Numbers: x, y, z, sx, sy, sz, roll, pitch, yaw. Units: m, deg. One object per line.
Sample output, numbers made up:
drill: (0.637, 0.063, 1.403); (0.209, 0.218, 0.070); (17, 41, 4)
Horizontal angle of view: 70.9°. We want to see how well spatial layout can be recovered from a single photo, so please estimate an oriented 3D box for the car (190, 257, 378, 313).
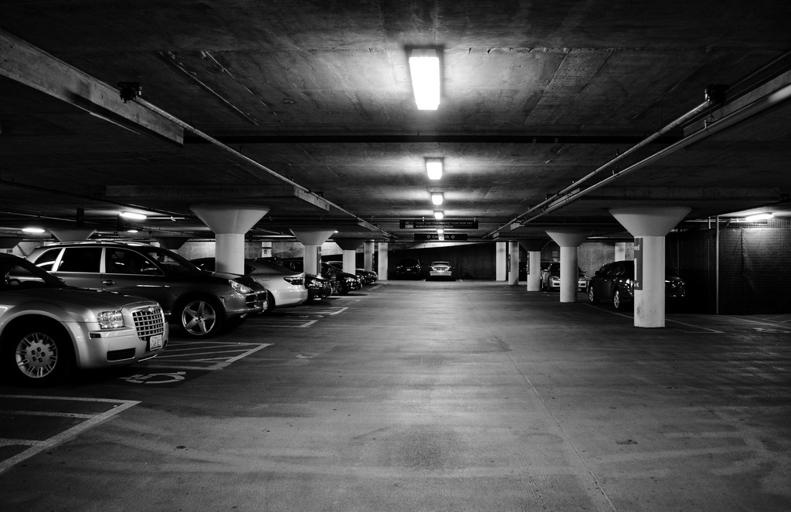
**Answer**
car: (-5.234, 0.949, 19.406); (5.962, 1.243, 2.144); (3, -1, 0)
